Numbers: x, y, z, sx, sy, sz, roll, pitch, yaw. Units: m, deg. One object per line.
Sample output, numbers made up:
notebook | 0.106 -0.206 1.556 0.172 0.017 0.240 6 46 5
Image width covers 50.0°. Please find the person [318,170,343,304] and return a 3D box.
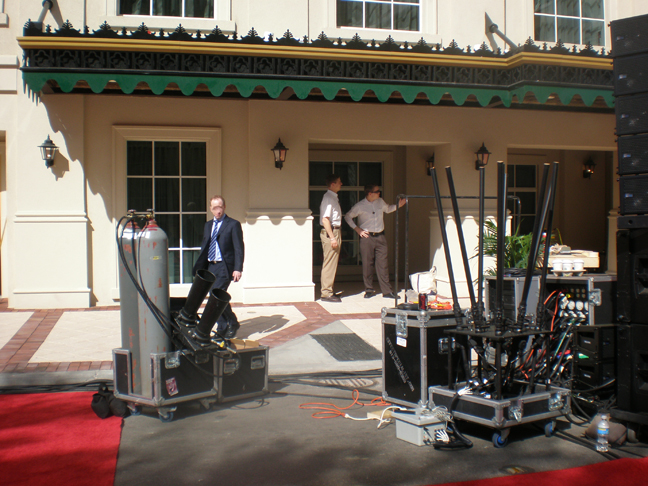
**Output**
person | 0.131 -0.085 13.431 0.420 2.389 0.650 -1 3 -1

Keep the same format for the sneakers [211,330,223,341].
sneakers | -1.216 1.068 7.989 0.113 0.056 0.387 -2 4 -9

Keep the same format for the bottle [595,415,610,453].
bottle | 2.676 1.811 6.673 0.126 0.325 0.305 0 4 23

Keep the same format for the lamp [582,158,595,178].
lamp | 6.742 -1.905 17.603 0.389 0.541 0.216 -2 3 -23

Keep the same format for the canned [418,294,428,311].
canned | 1.055 0.618 7.378 0.100 0.171 0.226 0 4 9

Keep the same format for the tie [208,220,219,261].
tie | -1.575 -0.018 10.091 0.185 0.580 0.157 -1 3 5

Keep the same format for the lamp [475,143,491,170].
lamp | 3.199 -1.735 13.903 0.315 0.538 0.340 -1 3 6

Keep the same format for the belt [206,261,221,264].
belt | -1.567 0.276 10.044 0.202 0.058 0.024 0 3 16

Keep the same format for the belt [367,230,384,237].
belt | 1.009 -0.169 13.398 0.300 0.093 0.110 -3 4 -29

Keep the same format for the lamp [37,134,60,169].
lamp | -4.953 -1.652 12.519 0.308 0.629 0.343 -6 -5 41

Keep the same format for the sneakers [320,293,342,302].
sneakers | 0.137 1.040 13.415 0.410 0.194 0.151 0 3 17

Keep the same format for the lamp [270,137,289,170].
lamp | -0.824 -1.681 13.118 0.313 0.587 0.240 -1 3 -5

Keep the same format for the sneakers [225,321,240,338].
sneakers | -1.329 1.264 10.117 0.126 0.195 0.414 -1 2 2
